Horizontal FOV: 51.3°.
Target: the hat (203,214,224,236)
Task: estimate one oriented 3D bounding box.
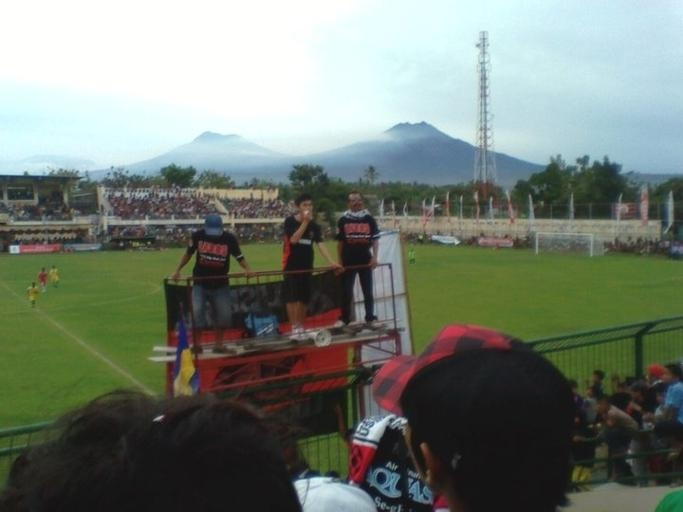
[{"bbox_3d":[-1.478,-0.411,8.212,0.178,0.287,0.145,2,-40,-10],"label":"hat"}]

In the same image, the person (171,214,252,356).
[{"bbox_3d":[-1.485,0.254,8.123,0.830,1.449,1.252,-1,4,-9],"label":"person"}]

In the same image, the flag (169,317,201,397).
[{"bbox_3d":[-1.538,0.962,6.962,0.244,0.752,0.839,-2,4,-14],"label":"flag"}]
